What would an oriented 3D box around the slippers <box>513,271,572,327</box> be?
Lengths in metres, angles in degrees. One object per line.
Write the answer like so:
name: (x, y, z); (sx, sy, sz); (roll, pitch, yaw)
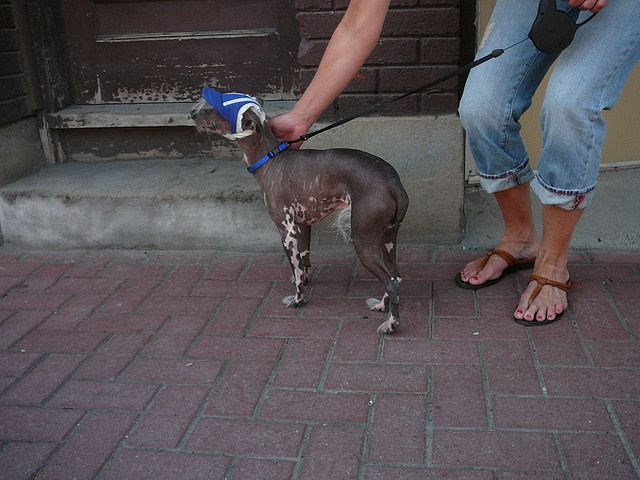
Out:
slippers: (1.241, 0.306, 3.020); (0.434, 0.111, 0.169); (-39, 35, -28)
